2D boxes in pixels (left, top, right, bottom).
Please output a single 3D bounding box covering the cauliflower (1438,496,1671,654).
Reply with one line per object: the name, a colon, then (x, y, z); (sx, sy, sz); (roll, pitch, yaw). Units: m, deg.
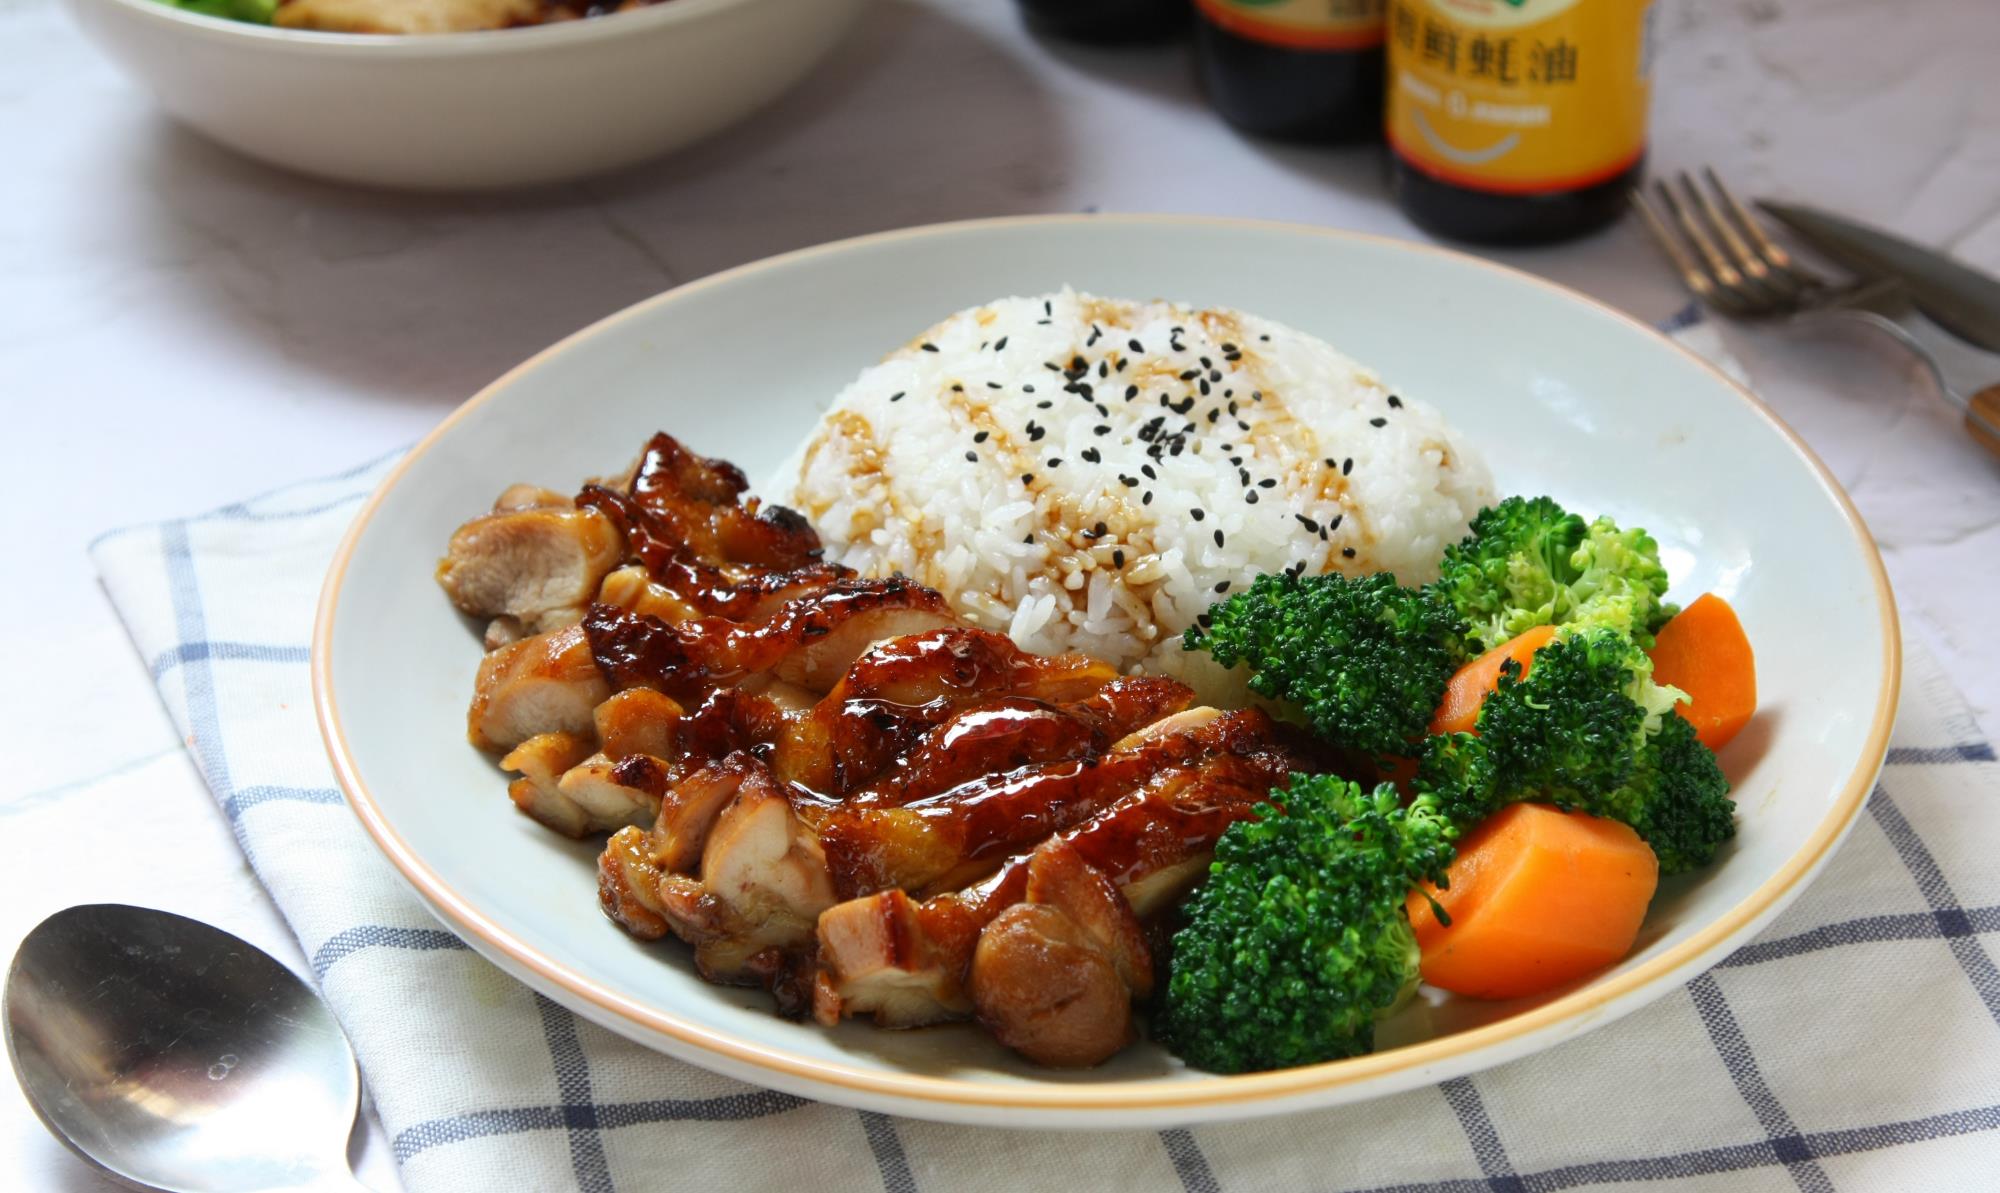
cauliflower: (1.372, -0.124, 4.275); (0.357, 0.367, 0.275); (-18, 80, -16)
